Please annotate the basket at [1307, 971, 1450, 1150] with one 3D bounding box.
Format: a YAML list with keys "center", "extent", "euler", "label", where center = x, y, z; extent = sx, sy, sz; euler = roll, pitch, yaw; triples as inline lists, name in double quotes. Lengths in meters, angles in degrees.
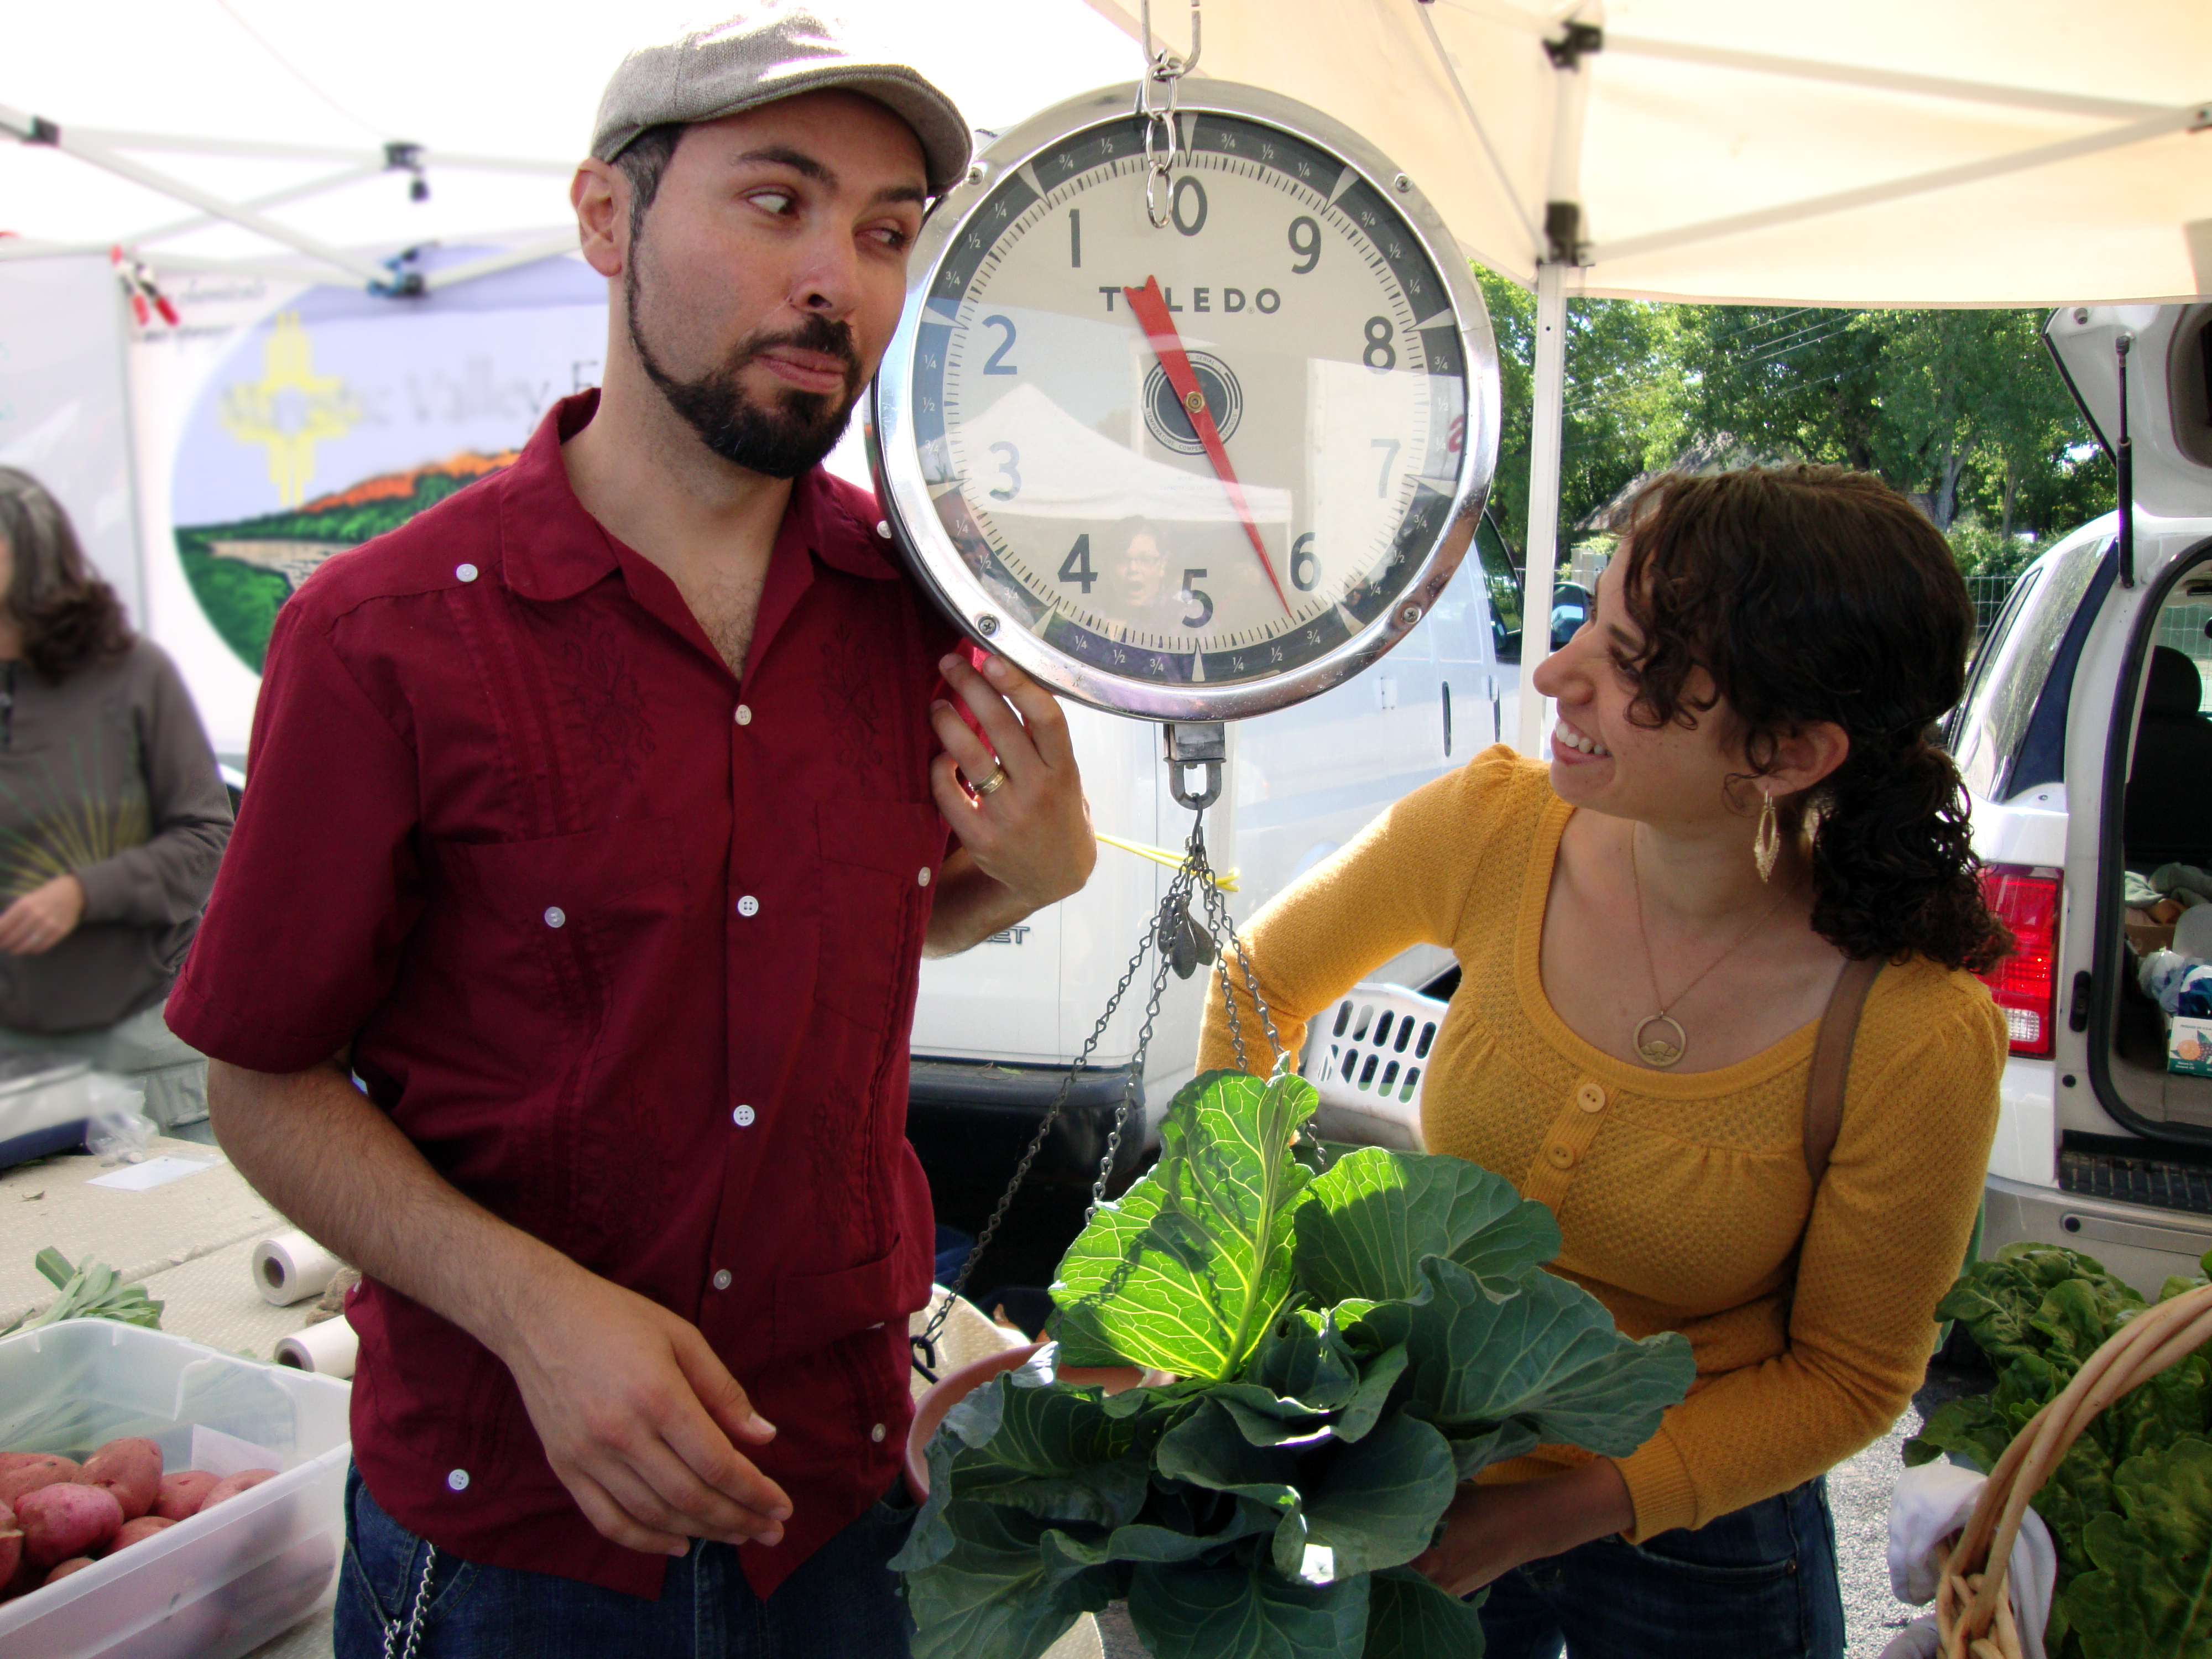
- center: [0.563, 0.469, 3.387]
  extent: [0.285, 0.304, 0.439]
  euler: [8, 1, 36]
  label: "basket"

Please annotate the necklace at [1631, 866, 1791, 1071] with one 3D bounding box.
- center: [0.642, 0.155, 1.695]
  extent: [0.113, 0.315, 0.025]
  euler: [18, -15, 31]
  label: "necklace"

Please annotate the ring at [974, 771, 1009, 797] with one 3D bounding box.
- center: [-0.110, -0.046, 1.508]
  extent: [0.021, 0.006, 0.022]
  euler: [-30, 12, 7]
  label: "ring"
